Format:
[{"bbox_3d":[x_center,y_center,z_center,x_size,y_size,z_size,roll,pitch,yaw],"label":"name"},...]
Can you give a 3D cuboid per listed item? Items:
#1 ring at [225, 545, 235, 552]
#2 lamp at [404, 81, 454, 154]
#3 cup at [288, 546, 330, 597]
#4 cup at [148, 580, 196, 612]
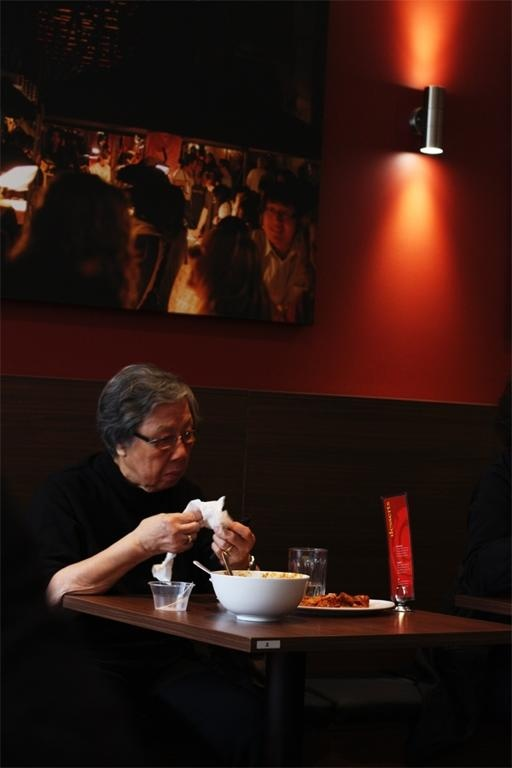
[{"bbox_3d":[-0.054,0.328,1.194,0.017,0.017,0.005,4,28,-18],"label":"ring"},{"bbox_3d":[0.548,-0.853,1.957,0.086,0.188,0.107,-4,10,-29],"label":"lamp"},{"bbox_3d":[0.111,0.376,1.195,0.080,0.098,0.085,1,-16,0],"label":"cup"},{"bbox_3d":[-0.140,0.346,0.982,0.053,0.033,0.057,2,-9,0],"label":"cup"}]
